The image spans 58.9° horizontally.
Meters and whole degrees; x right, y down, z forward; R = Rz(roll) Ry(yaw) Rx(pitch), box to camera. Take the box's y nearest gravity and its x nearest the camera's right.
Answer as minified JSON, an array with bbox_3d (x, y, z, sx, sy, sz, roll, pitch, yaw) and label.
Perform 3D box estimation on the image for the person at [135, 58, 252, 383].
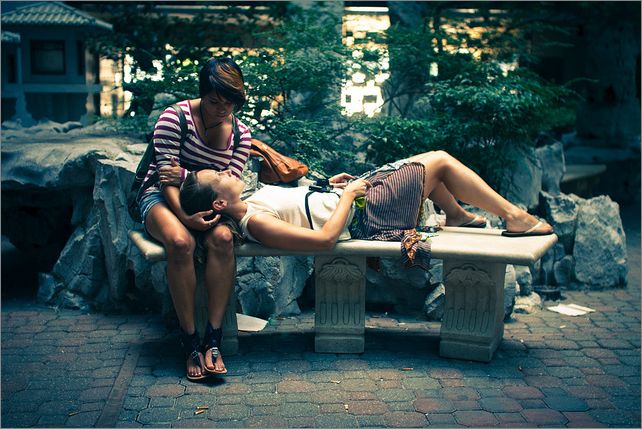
[{"bbox_3d":[-1.095,-0.030,5.275,1.052,2.683,1.542,2,-1,-25],"label":"person"}]

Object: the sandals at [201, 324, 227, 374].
[{"bbox_3d":[-0.926,1.203,4.962,0.212,0.478,0.203,0,9,-11],"label":"sandals"}]

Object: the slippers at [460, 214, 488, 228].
[{"bbox_3d":[1.555,0.088,5.781,0.281,0.079,0.099,-1,5,1],"label":"slippers"}]

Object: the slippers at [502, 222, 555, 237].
[{"bbox_3d":[1.984,0.148,5.445,0.440,0.098,0.169,-1,3,0],"label":"slippers"}]

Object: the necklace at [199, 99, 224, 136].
[{"bbox_3d":[-0.975,-0.862,5.059,0.291,0.267,0.069,10,-3,-32],"label":"necklace"}]

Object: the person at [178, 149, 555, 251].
[{"bbox_3d":[0.400,-0.111,5.490,3.001,0.787,1.324,-6,11,-6],"label":"person"}]

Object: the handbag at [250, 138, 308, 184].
[{"bbox_3d":[-0.506,-0.614,6.818,0.846,0.295,0.630,-13,31,12],"label":"handbag"}]

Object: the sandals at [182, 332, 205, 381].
[{"bbox_3d":[-1.109,1.245,4.976,0.139,0.412,0.254,-4,10,-33],"label":"sandals"}]
